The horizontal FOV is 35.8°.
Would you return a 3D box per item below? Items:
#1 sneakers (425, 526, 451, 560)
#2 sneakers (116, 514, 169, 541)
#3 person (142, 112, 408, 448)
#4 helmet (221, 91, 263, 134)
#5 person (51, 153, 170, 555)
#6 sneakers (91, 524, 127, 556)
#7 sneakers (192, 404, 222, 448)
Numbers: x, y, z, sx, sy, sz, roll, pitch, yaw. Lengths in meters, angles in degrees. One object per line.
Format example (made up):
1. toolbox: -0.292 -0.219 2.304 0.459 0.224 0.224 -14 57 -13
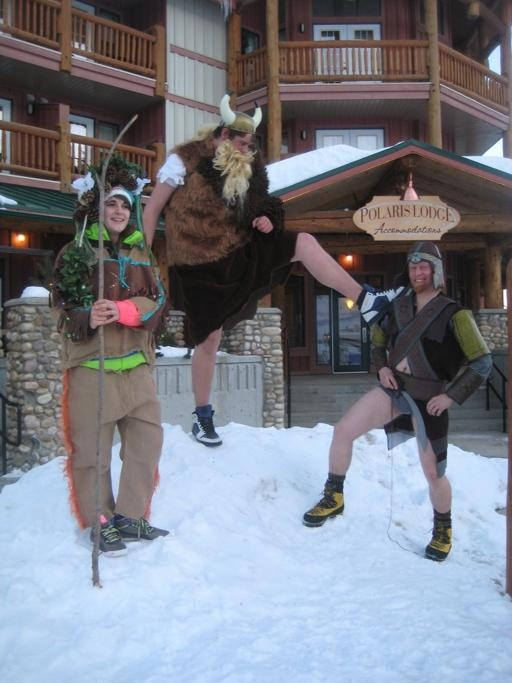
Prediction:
1. sneakers: 1.003 1.124 4.373 0.132 0.175 0.274 8 9 14
2. sneakers: -0.568 0.919 3.956 0.258 0.112 0.096 0 8 -18
3. person: -0.076 -0.396 4.495 1.154 1.858 0.733 4 9 -9
4. helmet: -0.081 -1.247 4.354 0.202 0.221 0.460 6 9 -1
5. person: -0.668 0.044 3.904 0.636 1.882 0.664 -2 12 -42
6. sneakers: -0.686 0.937 3.746 0.081 0.092 0.215 -1 -3 -38
7. sneakers: -0.320 0.546 5.047 0.131 0.224 0.345 -1 2 -23
